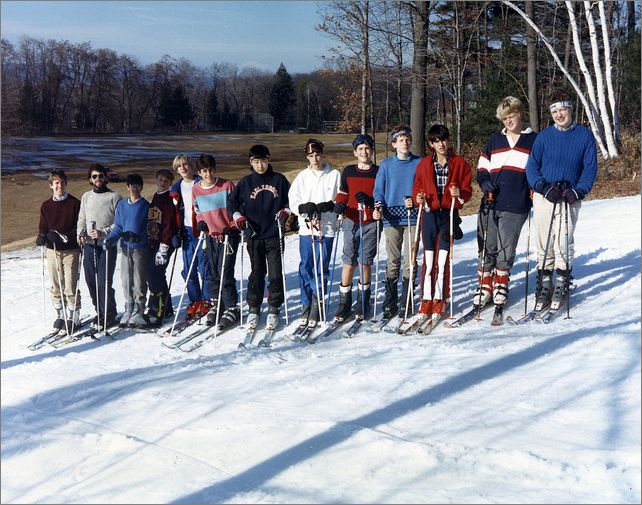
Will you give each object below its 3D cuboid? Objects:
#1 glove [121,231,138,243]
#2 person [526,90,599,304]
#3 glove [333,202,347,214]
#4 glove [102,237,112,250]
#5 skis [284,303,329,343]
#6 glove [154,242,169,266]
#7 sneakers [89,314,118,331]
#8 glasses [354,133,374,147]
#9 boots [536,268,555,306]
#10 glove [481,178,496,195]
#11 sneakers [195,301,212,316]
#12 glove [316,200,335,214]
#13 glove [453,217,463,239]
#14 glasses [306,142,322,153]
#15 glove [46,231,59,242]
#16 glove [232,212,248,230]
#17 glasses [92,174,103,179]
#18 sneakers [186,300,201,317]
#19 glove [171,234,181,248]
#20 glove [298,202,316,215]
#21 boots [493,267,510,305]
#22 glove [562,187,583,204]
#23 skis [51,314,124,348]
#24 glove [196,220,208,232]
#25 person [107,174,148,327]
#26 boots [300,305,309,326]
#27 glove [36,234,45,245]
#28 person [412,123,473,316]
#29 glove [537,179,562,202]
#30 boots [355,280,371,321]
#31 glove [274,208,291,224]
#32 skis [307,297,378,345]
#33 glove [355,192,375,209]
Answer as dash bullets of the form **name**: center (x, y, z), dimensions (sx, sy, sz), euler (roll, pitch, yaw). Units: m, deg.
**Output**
- **glove**: center (-2.631, -0.219, 8.967), dimensions (0.196, 0.078, 0.148), euler (29, 18, 8)
- **person**: center (2.828, -0.602, 7.733), dimensions (0.775, 2.609, 0.577), euler (1, 8, 20)
- **glove**: center (0.228, -0.558, 8.055), dimensions (0.157, 0.139, 0.128), euler (-3, 8, -8)
- **glove**: center (-3.007, -0.123, 9.175), dimensions (0.104, 0.148, 0.052), euler (0, 8, -5)
- **skis**: center (-0.160, 0.860, 8.270), dimensions (0.243, 0.307, 0.834), euler (10, 24, 21)
- **glove**: center (-2.201, 0.026, 8.979), dimensions (0.186, 0.294, 0.107), euler (41, 41, 5)
- **sneakers**: center (-3.154, 1.020, 9.405), dimensions (0.173, 0.180, 0.418), euler (0, -3, 28)
- **glasses**: center (0.531, -1.430, 8.232), dimensions (0.183, 0.094, 0.218), euler (1, -29, 1)
- **boots**: center (2.740, 0.445, 7.995), dimensions (0.174, 0.368, 0.529), euler (-3, 15, 29)
- **glove**: center (2.019, -0.792, 7.889), dimensions (0.207, 0.180, 0.186), euler (4, 10, 38)
- **sneakers**: center (-1.649, 0.775, 9.150), dimensions (0.112, 0.154, 0.343), euler (0, 11, 7)
- **glove**: center (0.044, -0.584, 8.189), dimensions (0.227, 0.129, 0.163), euler (-2, 8, 0)
- **glove**: center (1.670, -0.294, 8.005), dimensions (0.096, 0.290, 0.332), euler (0, 8, 12)
- **glasses**: center (-0.099, -1.329, 8.261), dimensions (0.216, 0.153, 0.205), euler (-2, 8, -1)
- **glove**: center (-3.789, -0.232, 9.191), dimensions (0.181, 0.158, 0.099), euler (1, 8, 17)
- **glove**: center (-1.024, -0.395, 8.190), dimensions (0.131, 0.065, 0.229), euler (-22, 49, -8)
- **glasses**: center (-3.148, -1.072, 9.157), dimensions (0.080, 0.029, 0.085), euler (-3, -28, -6)
- **sneakers**: center (-1.813, 0.806, 9.253), dimensions (0.137, 0.091, 0.381), euler (15, 48, -2)
- **glove**: center (-2.003, -0.169, 9.020), dimensions (0.132, 0.177, 0.245), euler (-3, 8, -13)
- **glove**: center (-0.182, -0.556, 8.176), dimensions (0.154, 0.082, 0.192), euler (12, 2, -28)
- **boots**: center (2.232, 0.429, 8.132), dimensions (0.174, 0.457, 0.515), euler (5, 22, 18)
- **glove**: center (2.900, -0.654, 7.478), dimensions (0.243, 0.192, 0.165), euler (-4, 8, -16)
- **skis**: center (-3.271, 1.112, 9.146), dimensions (0.120, 0.099, 0.858), euler (27, 34, 25)
- **glove**: center (-1.576, -0.349, 8.601), dimensions (0.147, 0.151, 0.222), euler (-3, 8, -10)
- **person**: center (-2.701, -0.029, 9.205), dimensions (0.559, 2.138, 0.507), euler (1, 8, 18)
- **boots**: center (-0.214, 0.826, 8.479), dimensions (0.079, 0.128, 0.269), euler (1, 48, 7)
- **glove**: center (-3.985, -0.181, 9.182), dimensions (0.104, 0.150, 0.149), euler (2, 15, -13)
- **person**: center (1.463, -0.362, 7.973), dimensions (0.681, 2.367, 0.498), euler (0, 8, 12)
- **glove**: center (2.627, -0.714, 7.563), dimensions (0.235, 0.091, 0.245), euler (37, 14, 30)
- **boots**: center (0.526, 0.602, 8.535), dimensions (0.197, 0.416, 0.582), euler (6, 28, 14)
- **glove**: center (-0.492, -0.465, 8.327), dimensions (0.198, 0.212, 0.181), euler (-3, 8, -9)
- **skis**: center (0.250, 0.883, 8.275), dimensions (0.165, 0.251, 1.035), euler (13, 25, 27)
- **glove**: center (0.541, -0.649, 8.055), dimensions (0.299, 0.215, 0.223), euler (-5, 8, -22)
